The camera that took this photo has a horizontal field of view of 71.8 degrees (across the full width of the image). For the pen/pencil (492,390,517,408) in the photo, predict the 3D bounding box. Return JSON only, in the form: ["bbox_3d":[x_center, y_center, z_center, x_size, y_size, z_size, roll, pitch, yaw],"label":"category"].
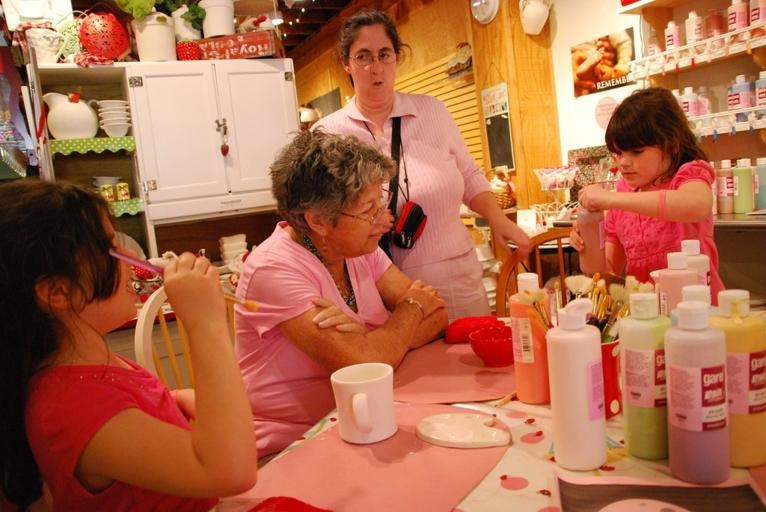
[{"bbox_3d":[0.318,0.372,1.376,0.010,0.009,0.061,18,39,31],"label":"pen/pencil"}]

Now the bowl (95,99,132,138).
[{"bbox_3d":[-1.762,-0.877,3.487,0.195,0.232,0.241,-8,7,-27],"label":"bowl"}]

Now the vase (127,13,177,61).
[{"bbox_3d":[-1.500,-1.396,3.555,0.305,0.315,0.291,-16,8,-43],"label":"vase"}]

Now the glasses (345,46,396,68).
[{"bbox_3d":[-0.038,-0.861,2.322,0.212,0.076,0.083,-6,6,-9],"label":"glasses"}]

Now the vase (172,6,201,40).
[{"bbox_3d":[-1.353,-1.570,3.607,0.184,0.198,0.184,-6,14,-9],"label":"vase"}]

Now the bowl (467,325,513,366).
[{"bbox_3d":[0.336,0.287,1.599,0.159,0.098,0.162,-12,-20,-4],"label":"bowl"}]

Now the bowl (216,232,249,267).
[{"bbox_3d":[-1.059,-0.048,3.746,0.242,0.256,0.196,2,-3,-17],"label":"bowl"}]

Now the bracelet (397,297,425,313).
[{"bbox_3d":[0.103,0.178,1.831,0.055,0.022,0.049,34,-15,-7],"label":"bracelet"}]

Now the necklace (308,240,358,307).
[{"bbox_3d":[-0.207,0.081,1.819,0.056,0.236,0.144,-27,3,11],"label":"necklace"}]

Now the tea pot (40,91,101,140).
[{"bbox_3d":[-1.915,-0.857,3.283,0.319,0.256,0.243,0,3,-43],"label":"tea pot"}]

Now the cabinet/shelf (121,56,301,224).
[{"bbox_3d":[-1.199,-0.772,3.481,1.179,1.009,0.456,-9,8,-23],"label":"cabinet/shelf"}]

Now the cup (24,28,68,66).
[{"bbox_3d":[-2.035,-1.258,3.210,0.188,0.225,0.106,-9,7,-31],"label":"cup"}]

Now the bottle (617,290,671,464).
[{"bbox_3d":[0.546,0.249,1.095,0.095,0.350,0.049,-3,6,18],"label":"bottle"}]

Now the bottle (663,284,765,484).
[{"bbox_3d":[0.602,0.260,1.013,0.103,0.353,0.042,-3,7,23],"label":"bottle"}]

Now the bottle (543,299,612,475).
[{"bbox_3d":[0.407,0.266,1.101,0.117,0.353,0.075,-4,6,8],"label":"bottle"}]

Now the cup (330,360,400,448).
[{"bbox_3d":[-0.038,0.359,1.316,0.131,0.139,0.199,-2,13,7],"label":"cup"}]
